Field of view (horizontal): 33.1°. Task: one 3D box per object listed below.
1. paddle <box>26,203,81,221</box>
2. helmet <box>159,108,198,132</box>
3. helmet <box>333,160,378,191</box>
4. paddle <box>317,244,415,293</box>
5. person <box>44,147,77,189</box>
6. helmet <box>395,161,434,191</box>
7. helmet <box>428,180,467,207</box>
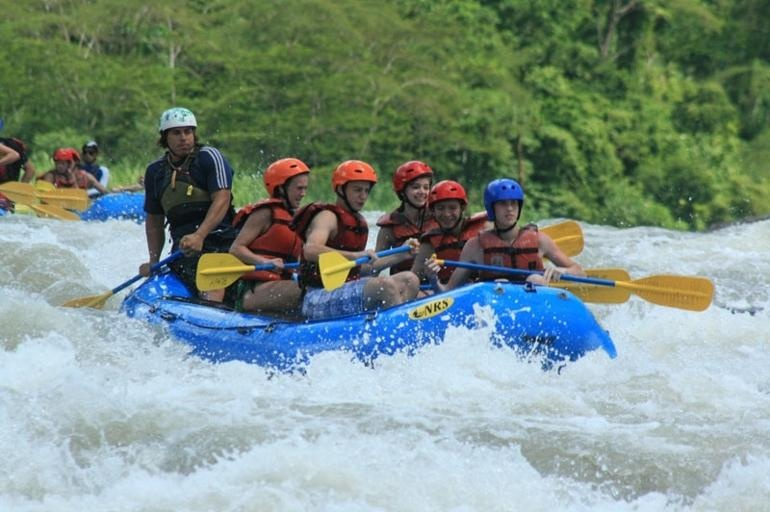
[{"bbox_3d":[-6.020,-0.796,23.399,1.008,0.299,0.173,15,10,9],"label":"paddle"},{"bbox_3d":[-3.285,-2.112,20.108,0.510,0.307,0.510,-1,6,36],"label":"helmet"},{"bbox_3d":[-0.449,-1.237,19.699,0.590,0.365,0.419,12,0,18],"label":"helmet"},{"bbox_3d":[-0.384,0.089,19.351,1.566,0.565,0.194,-16,6,-24],"label":"paddle"},{"bbox_3d":[-6.277,-1.704,25.165,0.440,0.741,1.145,4,15,0],"label":"person"},{"bbox_3d":[0.460,-1.234,20.154,0.447,0.536,0.400,25,13,23],"label":"helmet"},{"bbox_3d":[0.975,-0.959,19.899,0.380,0.488,0.388,-4,50,12],"label":"helmet"}]
